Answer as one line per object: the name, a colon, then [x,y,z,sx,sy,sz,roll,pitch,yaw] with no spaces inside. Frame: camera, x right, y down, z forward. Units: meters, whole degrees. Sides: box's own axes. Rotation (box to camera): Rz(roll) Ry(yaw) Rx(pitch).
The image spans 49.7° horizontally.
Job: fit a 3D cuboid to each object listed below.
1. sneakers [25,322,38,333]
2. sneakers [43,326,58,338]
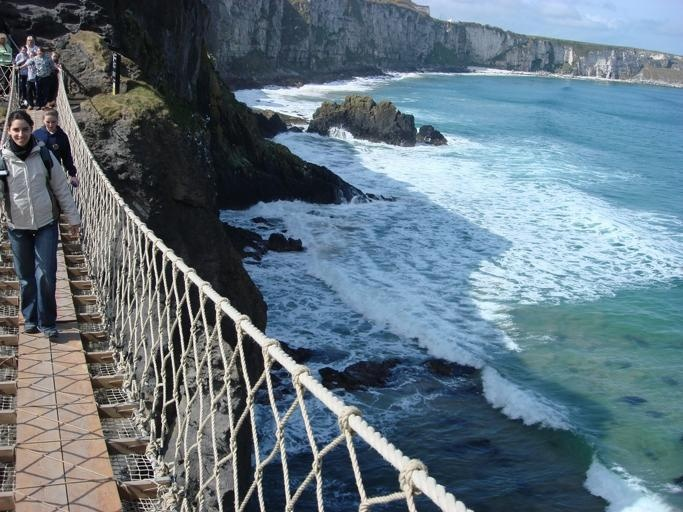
sneakers: [-3.186,0.749,7.613,0.141,0.108,0.068,-3,21,-17]
sneakers: [-2.982,0.789,7.582,0.143,0.096,0.098,-4,21,-20]
